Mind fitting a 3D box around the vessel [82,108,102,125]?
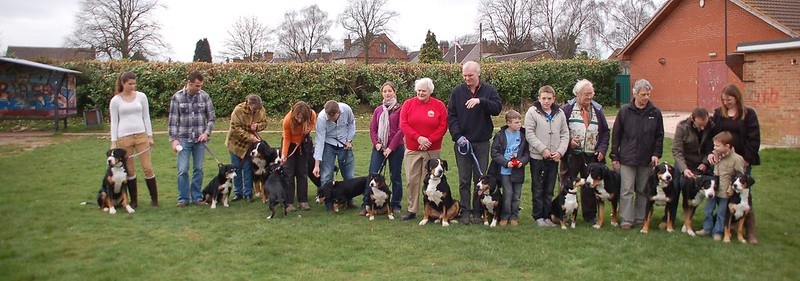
[{"bbox_3d":[-22.720,-1.704,40.433,1.206,1.156,0.685,-4,5,-36],"label":"vessel"}]
